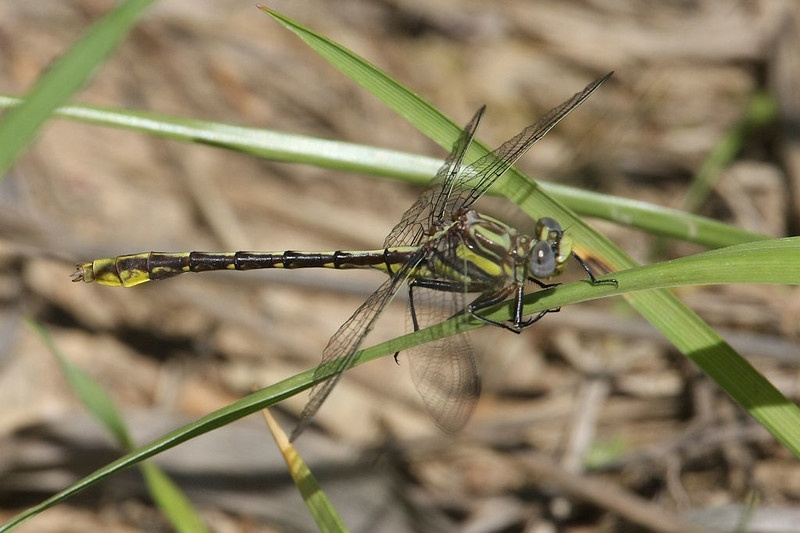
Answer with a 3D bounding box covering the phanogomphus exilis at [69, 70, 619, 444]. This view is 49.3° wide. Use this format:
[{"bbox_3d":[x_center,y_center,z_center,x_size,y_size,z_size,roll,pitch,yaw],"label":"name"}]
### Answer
[{"bbox_3d":[0.022,0.073,5.860,3.113,2.099,0.622,-13,-31,13],"label":"phanogomphus exilis"}]
